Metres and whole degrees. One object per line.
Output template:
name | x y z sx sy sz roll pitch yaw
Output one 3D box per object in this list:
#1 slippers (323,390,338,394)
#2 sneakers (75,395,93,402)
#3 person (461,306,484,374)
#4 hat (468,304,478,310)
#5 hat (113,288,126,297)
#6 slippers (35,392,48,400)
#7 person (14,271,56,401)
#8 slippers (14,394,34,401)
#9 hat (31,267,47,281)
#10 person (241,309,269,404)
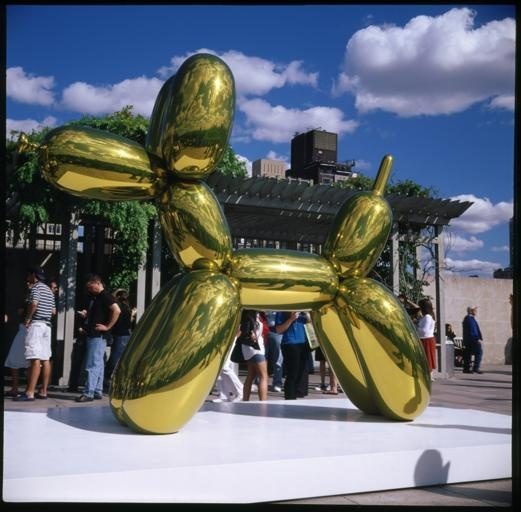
slippers | 1.080 1.819 9.175 0.207 0.095 0.070 -11 -14 43
sneakers | -2.038 1.620 7.913 0.192 0.098 0.209 3 -3 -17
person | 4.818 1.726 14.365 0.373 1.381 0.537 -1 -5 -10
hat | 5.318 1.179 15.888 0.200 0.091 0.290 1 -2 29
hat | -1.922 0.507 9.427 0.156 0.128 0.216 -4 4 8
slippers | -2.619 1.646 8.111 0.065 0.078 0.177 9 -12 -44
person | -2.716 0.941 8.284 0.358 1.536 1.034 3 -3 -17
slippers | -2.739 1.610 7.816 0.154 0.062 0.083 7 -13 -12
hat | -2.681 0.207 8.141 0.164 0.134 0.225 10 -11 -40
person | 0.004 1.059 7.248 0.312 0.975 0.547 2 -3 0
